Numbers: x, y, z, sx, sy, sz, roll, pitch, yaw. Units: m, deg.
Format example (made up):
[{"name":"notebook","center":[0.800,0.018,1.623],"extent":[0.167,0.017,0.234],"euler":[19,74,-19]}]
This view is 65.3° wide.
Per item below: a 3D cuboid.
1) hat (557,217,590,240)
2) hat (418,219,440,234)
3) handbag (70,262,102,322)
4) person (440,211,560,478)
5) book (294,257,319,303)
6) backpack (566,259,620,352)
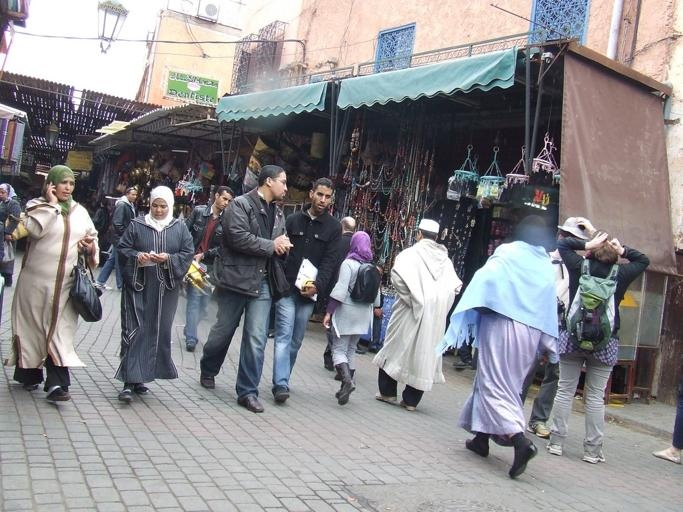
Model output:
[{"name":"hat","center":[2.389,-0.313,5.501],"extent":[0.220,0.101,0.242],"euler":[24,11,-9]},{"name":"hat","center":[1.031,-0.361,6.427],"extent":[0.223,0.121,0.232],"euler":[9,11,-10]},{"name":"handbag","center":[-2.453,0.351,5.074],"extent":[0.293,0.562,0.352],"euler":[7,1,-34]},{"name":"person","center":[1.431,0.713,4.891],"extent":[0.990,2.384,0.746],"euler":[7,0,34]},{"name":"book","center":[-0.388,0.220,5.731],"extent":[0.094,0.376,0.367],"euler":[-8,-33,39]},{"name":"backpack","center":[2.421,0.480,5.130],"extent":[0.419,0.910,0.291],"euler":[7,0,20]}]
